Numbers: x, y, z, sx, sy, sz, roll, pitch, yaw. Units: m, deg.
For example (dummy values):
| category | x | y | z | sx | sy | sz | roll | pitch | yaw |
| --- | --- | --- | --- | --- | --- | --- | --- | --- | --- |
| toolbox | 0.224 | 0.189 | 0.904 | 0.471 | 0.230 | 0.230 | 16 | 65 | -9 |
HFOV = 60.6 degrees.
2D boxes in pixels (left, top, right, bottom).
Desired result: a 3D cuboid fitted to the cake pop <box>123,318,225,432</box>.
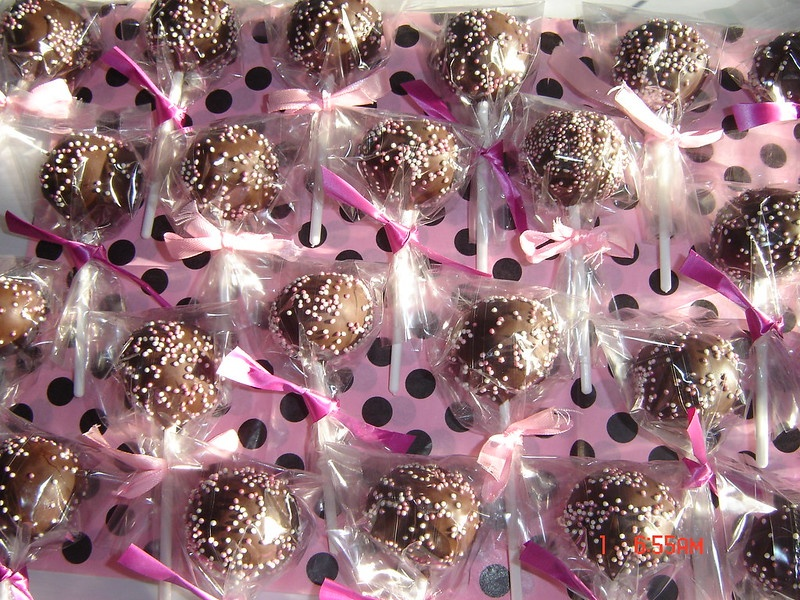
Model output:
| category | x | y | z | sx | sy | sz | roll | pitch | yaw |
| --- | --- | --- | --- | --- | --- | --- | --- | --- | --- |
| cake pop | -0.745 | 0.238 | 2.231 | 0.259 | 0.198 | 0.389 | -5 | 86 | -15 |

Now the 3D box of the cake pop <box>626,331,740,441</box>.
| category | x | y | z | sx | sy | sz | roll | pitch | yaw |
| --- | --- | --- | --- | --- | --- | --- | --- | --- | --- |
| cake pop | 0.923 | 0.250 | 2.222 | 0.257 | 0.342 | 0.367 | -2 | 91 | 24 |

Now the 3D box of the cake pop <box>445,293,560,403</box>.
| category | x | y | z | sx | sy | sz | roll | pitch | yaw |
| --- | --- | --- | --- | --- | --- | --- | --- | --- | --- |
| cake pop | 0.342 | 0.162 | 2.231 | 0.359 | 0.121 | 0.347 | 9 | 81 | -1 |

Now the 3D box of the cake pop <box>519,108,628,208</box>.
| category | x | y | z | sx | sy | sz | roll | pitch | yaw |
| --- | --- | --- | --- | --- | --- | --- | --- | --- | --- |
| cake pop | 0.602 | -0.488 | 2.384 | 0.346 | 0.172 | 0.320 | 1 | 81 | -2 |

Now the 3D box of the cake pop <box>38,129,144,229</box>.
| category | x | y | z | sx | sy | sz | roll | pitch | yaw |
| --- | --- | --- | --- | --- | --- | --- | --- | --- | --- |
| cake pop | -1.070 | -0.407 | 2.401 | 0.291 | 0.131 | 0.317 | 9 | 81 | -1 |

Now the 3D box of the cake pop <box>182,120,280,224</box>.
| category | x | y | z | sx | sy | sz | roll | pitch | yaw |
| --- | --- | --- | --- | --- | --- | --- | --- | --- | --- |
| cake pop | -0.586 | -0.432 | 2.356 | 0.324 | 0.128 | 0.303 | -10 | 81 | -4 |

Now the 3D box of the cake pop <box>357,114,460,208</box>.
| category | x | y | z | sx | sy | sz | roll | pitch | yaw |
| --- | --- | --- | --- | --- | --- | --- | --- | --- | --- |
| cake pop | 0.037 | -0.469 | 2.363 | 0.361 | 0.142 | 0.295 | -2 | 81 | -3 |

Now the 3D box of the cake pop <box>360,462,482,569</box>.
| category | x | y | z | sx | sy | sz | roll | pitch | yaw |
| --- | --- | --- | --- | --- | --- | --- | --- | --- | --- |
| cake pop | 0.080 | 0.646 | 2.138 | 0.286 | 0.204 | 0.299 | 8 | 42 | -4 |
